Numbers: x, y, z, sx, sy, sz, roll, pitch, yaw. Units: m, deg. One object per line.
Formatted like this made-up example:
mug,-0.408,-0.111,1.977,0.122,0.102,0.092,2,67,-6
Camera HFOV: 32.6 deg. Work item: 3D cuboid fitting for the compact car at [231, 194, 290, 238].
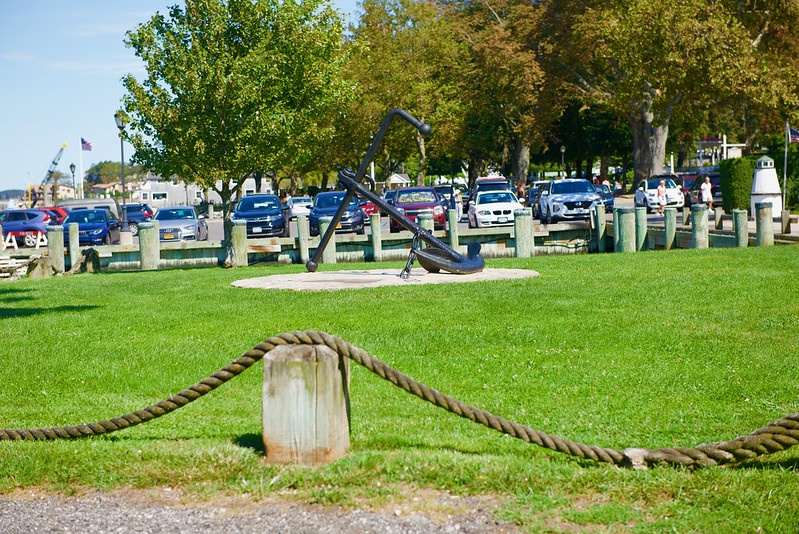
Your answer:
compact car,-5.501,-1.986,53.713,2.073,1.659,4.586,-1,0,-1

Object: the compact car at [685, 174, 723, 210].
compact car,14.257,-3.423,61.690,2.528,1.278,1.534,0,3,1

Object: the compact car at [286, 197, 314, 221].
compact car,-5.092,-3.062,69.479,1.487,1.011,3.294,-1,11,-7

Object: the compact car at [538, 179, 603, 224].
compact car,6.702,-2.628,53.615,2.056,1.728,3.194,-1,2,-5

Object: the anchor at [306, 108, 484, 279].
anchor,0.034,-2.126,39.408,4.691,4.740,2.928,-1,2,3

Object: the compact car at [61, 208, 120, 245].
compact car,-12.624,-1.682,55.832,1.706,1.426,2.855,-1,2,-5

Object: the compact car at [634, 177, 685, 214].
compact car,11.407,-3.175,59.929,1.427,1.218,2.511,-1,1,-4

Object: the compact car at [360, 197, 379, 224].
compact car,-1.327,-2.535,58.959,0.704,0.586,1.573,0,0,-1
